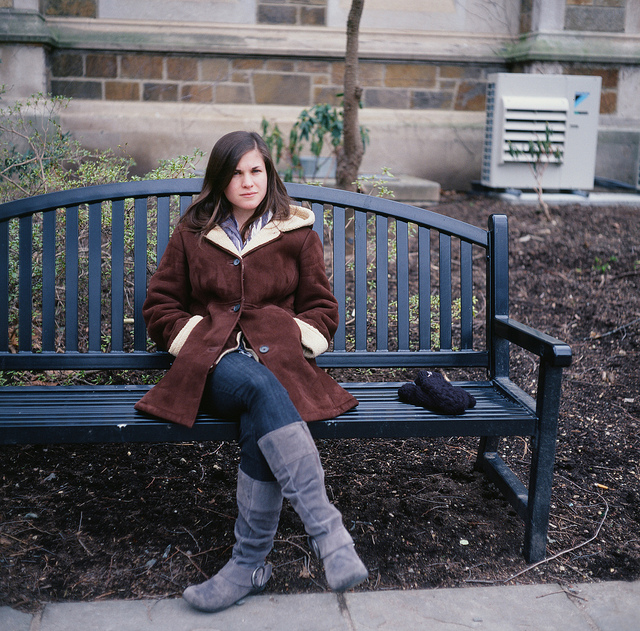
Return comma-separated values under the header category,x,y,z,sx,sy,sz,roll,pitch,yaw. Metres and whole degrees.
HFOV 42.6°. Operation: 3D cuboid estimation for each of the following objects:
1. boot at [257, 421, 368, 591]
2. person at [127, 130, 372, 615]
category,x,y,z,sx,sy,sz,roll,pitch,yaw
boot,-0.009,0.622,2.624,0.206,0.180,0.608,-15,47,-21
person,-0.254,0.144,2.883,0.778,1.504,1.081,-3,14,-13
